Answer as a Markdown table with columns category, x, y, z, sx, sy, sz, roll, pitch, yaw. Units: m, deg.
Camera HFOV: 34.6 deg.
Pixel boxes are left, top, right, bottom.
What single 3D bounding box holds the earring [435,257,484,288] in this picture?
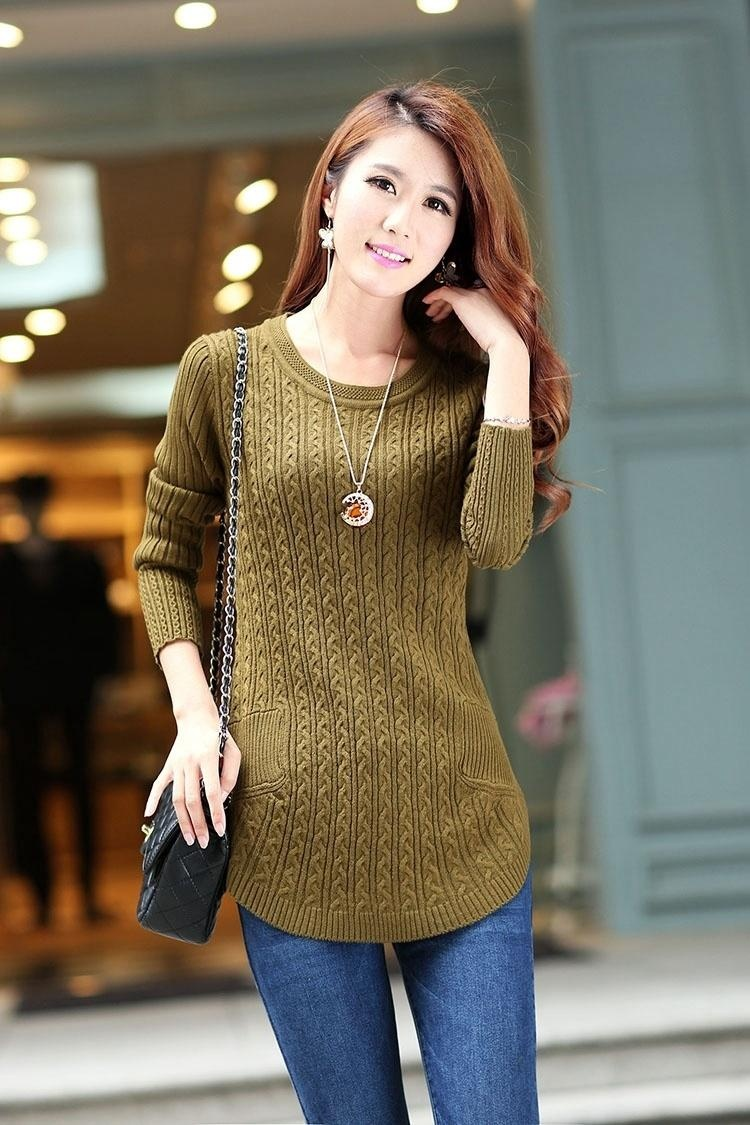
| category | x | y | z | sx | sy | sz | roll | pitch | yaw |
| --- | --- | --- | --- | --- | --- | --- | --- | --- | --- |
| earring | 0.143 | -0.477 | 2.040 | 0.074 | 0.057 | 0.036 | 3 | -6 | 3 |
